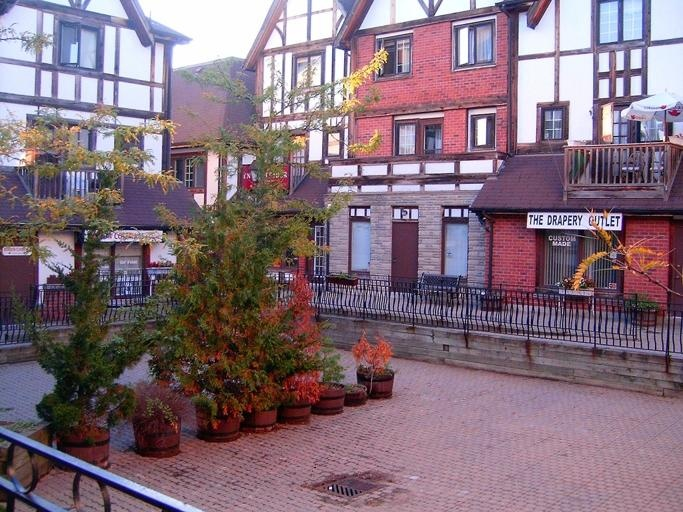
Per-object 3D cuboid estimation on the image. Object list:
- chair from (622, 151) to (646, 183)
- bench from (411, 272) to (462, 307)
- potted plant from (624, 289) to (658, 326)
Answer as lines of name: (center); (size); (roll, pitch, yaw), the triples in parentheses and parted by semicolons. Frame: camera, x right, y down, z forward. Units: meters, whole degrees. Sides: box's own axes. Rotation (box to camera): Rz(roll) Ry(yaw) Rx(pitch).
chair: (8.765, -2.685, 17.831); (0.603, 0.987, 1.001); (3, 5, 26)
bench: (3.207, 1.004, 19.133); (1.290, 0.704, 1.223); (5, 14, 14)
potted plant: (8.036, 1.392, 15.885); (0.904, 0.972, 0.774); (0, -1, -44)
